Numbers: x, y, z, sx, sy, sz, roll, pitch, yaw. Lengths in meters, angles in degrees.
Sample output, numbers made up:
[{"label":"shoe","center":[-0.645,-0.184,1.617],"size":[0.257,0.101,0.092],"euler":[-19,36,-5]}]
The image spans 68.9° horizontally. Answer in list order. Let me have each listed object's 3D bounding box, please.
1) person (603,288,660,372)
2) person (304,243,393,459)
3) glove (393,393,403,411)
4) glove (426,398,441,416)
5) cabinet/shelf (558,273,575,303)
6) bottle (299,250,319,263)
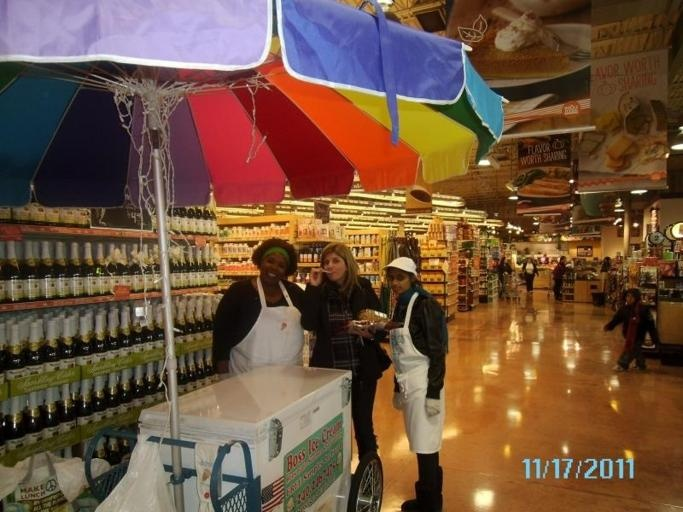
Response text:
[{"label":"person","center":[4.919,1.215,8.353],"size":[0.638,1.361,1.073],"euler":[0,2,40]},{"label":"person","center":[0.051,0.795,3.883],"size":[0.617,1.809,0.456],"euler":[-4,9,2]},{"label":"glove","center":[0.459,1.170,3.994],"size":[0.115,0.123,0.089],"euler":[-1,2,35]},{"label":"glove","center":[0.678,1.108,3.655],"size":[0.113,0.127,0.052],"euler":[-9,9,-22]},{"label":"cabinet/shelf","center":[8.780,1.214,19.266],"size":[0.551,1.212,0.805],"euler":[1,13,11]},{"label":"bottle","center":[-0.605,0.009,9.264],"size":[0.198,0.214,0.071],"euler":[0,-5,8]}]
